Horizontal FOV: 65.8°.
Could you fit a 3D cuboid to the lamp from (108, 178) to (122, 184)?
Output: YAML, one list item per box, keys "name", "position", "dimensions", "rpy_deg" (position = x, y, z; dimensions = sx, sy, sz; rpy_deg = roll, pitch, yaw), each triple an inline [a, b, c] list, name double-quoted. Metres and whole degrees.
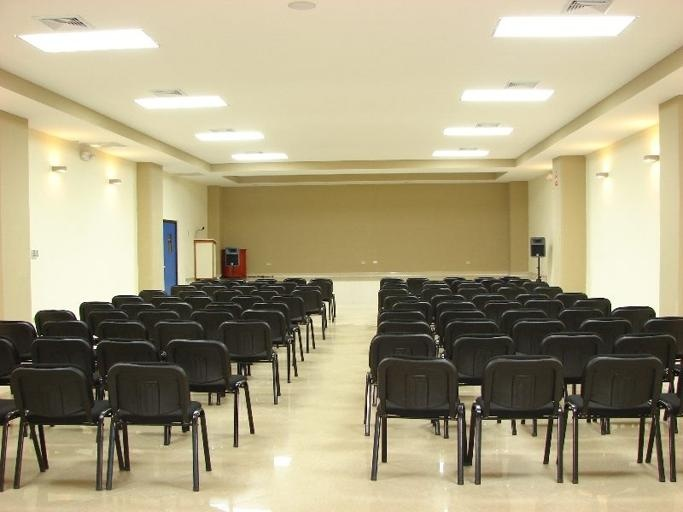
- name: "lamp"
  position: [-5.585, -1.810, 12.851]
  dimensions: [0.287, 0.169, 0.295]
  rpy_deg: [-2, 4, -20]

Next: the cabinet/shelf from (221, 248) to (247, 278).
- name: "cabinet/shelf"
  position: [-3.789, 0.285, 18.554]
  dimensions: [0.988, 1.125, 1.041]
  rpy_deg: [-1, -5, -4]

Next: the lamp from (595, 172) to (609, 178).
- name: "lamp"
  position: [6.202, -1.913, 12.556]
  dimensions: [0.252, 0.138, 0.547]
  rpy_deg: [0, 4, 10]

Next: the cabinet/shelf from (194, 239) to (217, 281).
- name: "cabinet/shelf"
  position: [-4.601, 0.130, 17.508]
  dimensions: [0.719, 1.306, 0.478]
  rpy_deg: [-2, 5, -12]

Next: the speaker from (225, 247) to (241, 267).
- name: "speaker"
  position: [-3.810, 0.053, 18.142]
  dimensions: [0.467, 0.609, 0.223]
  rpy_deg: [-2, 5, -13]

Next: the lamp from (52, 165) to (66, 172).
- name: "lamp"
  position: [-5.854, -1.777, 10.806]
  dimensions: [0.207, 0.075, 0.154]
  rpy_deg: [-2, -2, 38]
